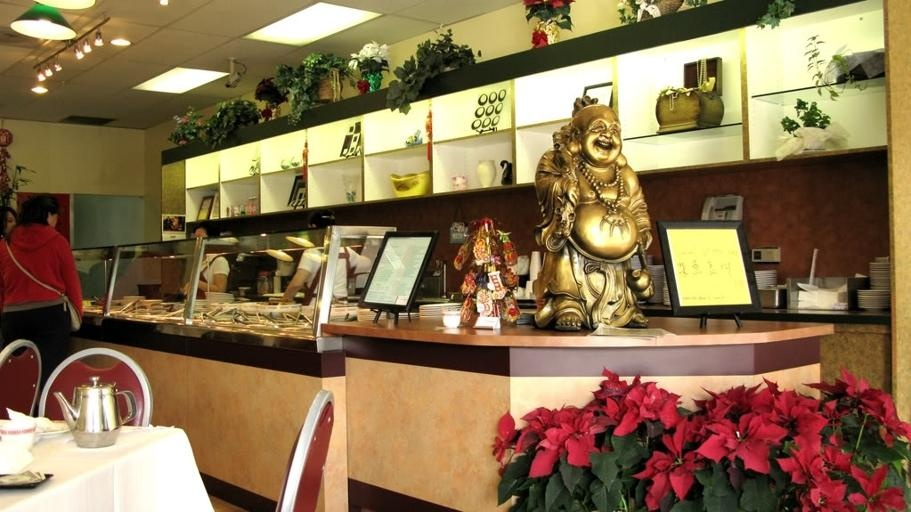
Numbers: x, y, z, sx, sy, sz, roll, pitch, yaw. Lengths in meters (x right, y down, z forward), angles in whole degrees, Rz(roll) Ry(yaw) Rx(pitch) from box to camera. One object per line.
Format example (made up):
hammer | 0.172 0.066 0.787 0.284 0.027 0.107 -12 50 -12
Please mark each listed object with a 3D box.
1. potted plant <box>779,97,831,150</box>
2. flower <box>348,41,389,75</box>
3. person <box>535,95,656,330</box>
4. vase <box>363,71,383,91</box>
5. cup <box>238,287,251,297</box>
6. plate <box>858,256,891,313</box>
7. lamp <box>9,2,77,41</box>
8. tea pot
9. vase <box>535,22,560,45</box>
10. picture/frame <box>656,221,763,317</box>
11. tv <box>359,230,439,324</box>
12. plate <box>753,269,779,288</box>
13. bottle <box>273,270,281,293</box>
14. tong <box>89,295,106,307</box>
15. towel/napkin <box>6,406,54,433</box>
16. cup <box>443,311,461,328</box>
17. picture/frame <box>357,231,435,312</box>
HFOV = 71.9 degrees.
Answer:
potted plant | 2.561 -0.950 4.596 0.332 0.378 0.153 -1 -6 27
flower | -0.933 -2.053 6.659 0.438 0.266 0.417 -4 2 -43
person | 0.797 -0.216 3.619 0.661 1.290 0.264 1 -5 10
vase | -0.847 -1.826 6.617 0.227 0.226 0.246 -1 -1 0
cup | -1.473 0.253 4.386 0.077 0.047 0.075 -1 -4 0
plate | 2.991 0.199 4.474 0.201 0.390 0.223 -3 -7 43
lamp | -3.645 -2.100 5.564 0.441 0.353 0.342 4 -6 -32
tea pot | -1.752 0.791 3.238 0.546 0.380 0.322 6 -9 -33
vase | 0.812 -1.939 5.524 0.220 0.201 0.095 25 28 37
picture/frame | 1.472 0.093 3.664 0.835 0.685 0.064 -4 -7 -11
tv | -0.390 0.139 4.042 0.575 0.675 0.292 11 -6 43
plate | 2.350 0.181 4.758 0.186 0.117 0.175 -1 1 -27
bottle | -1.193 0.178 4.201 0.086 0.143 0.015 -2 -6 36
tong | -3.255 0.416 5.713 0.075 0.092 0.091 9 -49 -4
towel/napkin | -2.118 0.819 3.123 0.196 0.080 0.206 11 -17 4
cup | -0.024 0.382 3.731 0.096 0.070 0.089 -1 1 0
picture/frame | -0.405 0.093 4.014 0.583 0.607 0.089 13 -16 44
